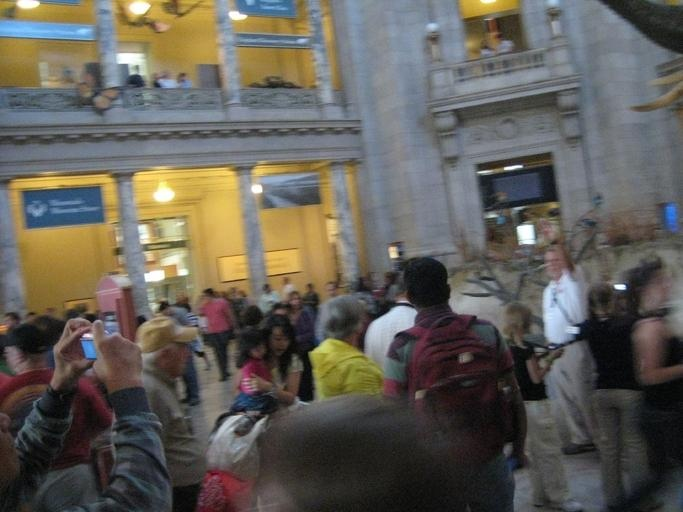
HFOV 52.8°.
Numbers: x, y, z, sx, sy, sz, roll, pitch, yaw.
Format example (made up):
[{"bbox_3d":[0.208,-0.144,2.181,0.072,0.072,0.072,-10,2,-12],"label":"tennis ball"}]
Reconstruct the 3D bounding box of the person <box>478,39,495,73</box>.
[{"bbox_3d":[4.062,-5.579,19.149,0.346,0.992,1.576,-8,-1,15],"label":"person"}]

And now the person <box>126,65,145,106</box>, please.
[{"bbox_3d":[-5.302,-4.307,17.720,0.462,1.009,1.299,-8,0,-15],"label":"person"}]

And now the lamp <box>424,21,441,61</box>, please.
[{"bbox_3d":[2.557,-5.854,19.063,0.403,1.106,0.455,-8,0,9],"label":"lamp"}]
